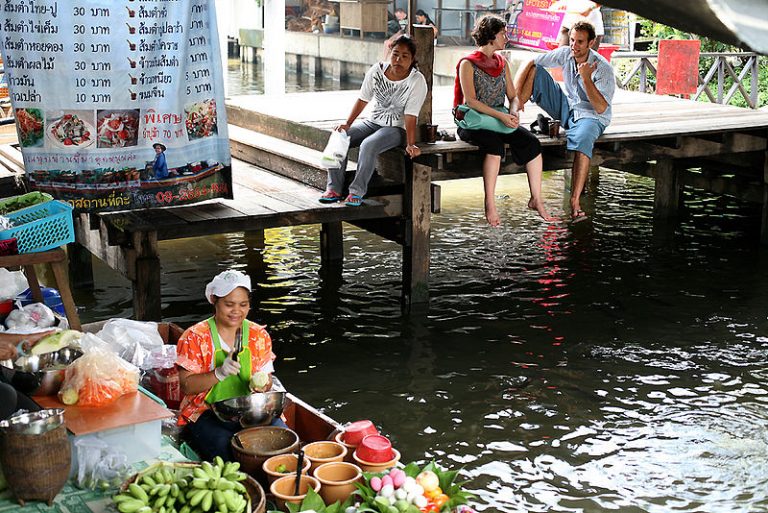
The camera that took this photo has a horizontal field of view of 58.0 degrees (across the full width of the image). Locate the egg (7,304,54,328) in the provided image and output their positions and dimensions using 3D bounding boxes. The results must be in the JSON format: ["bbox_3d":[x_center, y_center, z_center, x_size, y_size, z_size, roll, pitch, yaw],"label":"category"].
[{"bbox_3d":[-3.019,0.507,5.884,0.330,0.136,0.238,-5,10,-33],"label":"egg"}]

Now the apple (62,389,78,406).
[{"bbox_3d":[-2.169,0.962,4.771,0.119,0.108,0.064,-3,-7,10],"label":"apple"}]

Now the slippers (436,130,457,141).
[{"bbox_3d":[0.806,-1.609,9.301,0.157,0.128,0.351,-5,13,-27],"label":"slippers"}]

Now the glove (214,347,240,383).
[{"bbox_3d":[-1.168,0.799,5.101,0.221,0.076,0.161,-39,-14,4],"label":"glove"}]

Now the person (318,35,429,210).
[{"bbox_3d":[-0.010,-1.712,8.692,1.074,2.012,0.973,9,17,23],"label":"person"}]

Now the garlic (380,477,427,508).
[{"bbox_3d":[0.138,1.465,4.319,0.185,0.062,0.173,5,12,-12],"label":"garlic"}]

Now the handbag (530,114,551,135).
[{"bbox_3d":[2.224,-1.835,9.838,0.356,0.321,0.230,-5,16,7],"label":"handbag"}]

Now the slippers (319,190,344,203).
[{"bbox_3d":[-0.667,-0.724,8.628,0.116,0.121,0.312,-2,-1,39],"label":"slippers"}]

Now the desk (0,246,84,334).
[{"bbox_3d":[-3.204,0.329,6.389,0.819,0.684,0.629,-10,19,-29],"label":"desk"}]

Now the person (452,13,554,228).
[{"bbox_3d":[1.529,-1.751,9.105,1.235,2.654,1.101,3,16,4],"label":"person"}]

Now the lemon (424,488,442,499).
[{"bbox_3d":[0.321,1.518,4.454,0.066,0.058,0.074,5,-28,-20],"label":"lemon"}]

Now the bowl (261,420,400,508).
[{"bbox_3d":[-0.433,1.361,4.443,0.525,0.187,0.459,-24,26,-36],"label":"bowl"}]

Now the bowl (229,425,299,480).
[{"bbox_3d":[-0.839,1.324,4.851,0.365,0.214,0.364,1,28,-1],"label":"bowl"}]

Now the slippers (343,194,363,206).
[{"bbox_3d":[-0.382,-0.693,8.544,0.231,0.137,0.207,0,15,-6],"label":"slippers"}]
